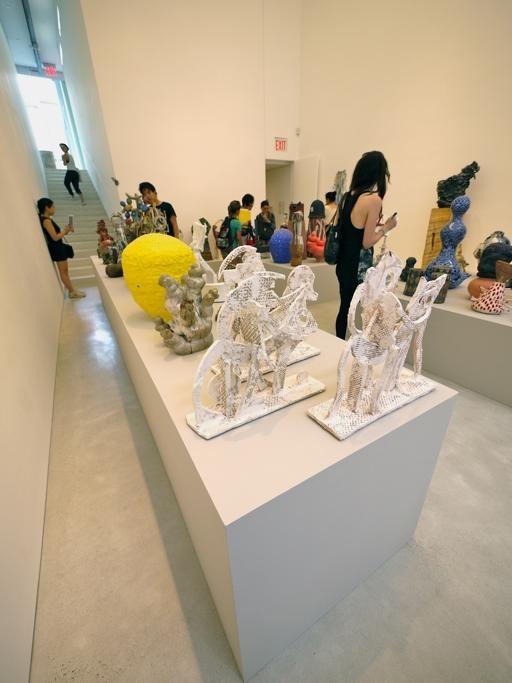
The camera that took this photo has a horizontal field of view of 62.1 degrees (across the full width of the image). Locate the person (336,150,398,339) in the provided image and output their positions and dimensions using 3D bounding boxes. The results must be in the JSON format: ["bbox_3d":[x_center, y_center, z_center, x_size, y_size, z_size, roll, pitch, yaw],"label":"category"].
[{"bbox_3d":[0.531,-0.432,2.291,0.304,1.075,0.276,20,31,38],"label":"person"}]

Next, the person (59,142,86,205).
[{"bbox_3d":[-3.033,-2.742,6.919,0.275,0.828,1.416,-9,27,-19],"label":"person"}]
